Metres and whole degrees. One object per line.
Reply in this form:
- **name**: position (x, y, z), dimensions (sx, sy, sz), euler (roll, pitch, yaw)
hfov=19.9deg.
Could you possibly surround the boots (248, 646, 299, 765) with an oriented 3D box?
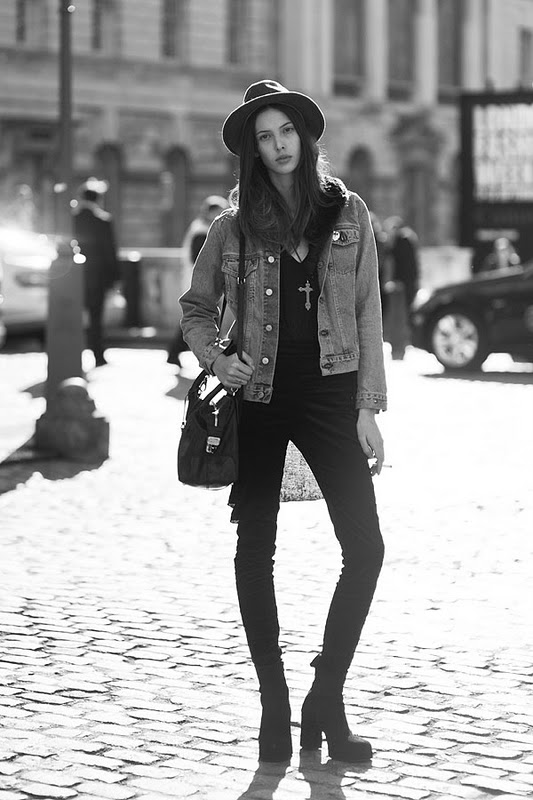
- **boots**: position (0.012, 0.721, 3.651), dimensions (0.097, 0.234, 0.215), euler (2, 7, -1)

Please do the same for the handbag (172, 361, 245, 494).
- **handbag**: position (-0.154, 0.075, 3.716), dimensions (0.137, 0.269, 0.308), euler (1, 7, -13)

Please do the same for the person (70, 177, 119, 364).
- **person**: position (-1.787, -1.238, 15.722), dimensions (0.467, 1.878, 1.026), euler (2, 7, -6)
